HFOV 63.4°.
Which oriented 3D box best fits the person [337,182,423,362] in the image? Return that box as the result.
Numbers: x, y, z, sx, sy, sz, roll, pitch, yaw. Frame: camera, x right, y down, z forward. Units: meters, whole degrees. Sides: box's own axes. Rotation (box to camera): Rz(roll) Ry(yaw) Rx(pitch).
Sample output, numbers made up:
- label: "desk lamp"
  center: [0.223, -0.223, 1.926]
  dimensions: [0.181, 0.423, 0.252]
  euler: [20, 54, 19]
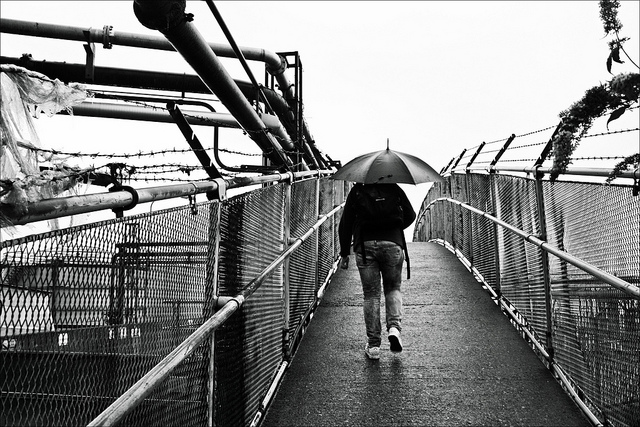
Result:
- label: "person"
  center: [0.673, 0.614, 5.775]
  dimensions: [0.817, 1.876, 0.943]
  euler: [-3, 7, -9]

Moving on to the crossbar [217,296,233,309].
- label: "crossbar"
  center: [-0.644, 0.606, 3.503]
  dimensions: [0.043, 0.043, 0.164]
  euler: [15, 19, 13]

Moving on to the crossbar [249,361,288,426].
- label: "crossbar"
  center: [-0.460, 1.637, 4.622]
  dimensions: [0.054, 0.058, 0.565]
  euler: [-45, 3, 30]

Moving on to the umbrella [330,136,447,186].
- label: "umbrella"
  center: [0.817, -0.603, 6.402]
  dimensions: [1.354, 0.546, 1.382]
  euler: [8, 12, 42]

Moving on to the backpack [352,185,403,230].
- label: "backpack"
  center: [0.696, -0.089, 5.918]
  dimensions: [0.544, 0.555, 0.305]
  euler: [-5, -13, 18]
